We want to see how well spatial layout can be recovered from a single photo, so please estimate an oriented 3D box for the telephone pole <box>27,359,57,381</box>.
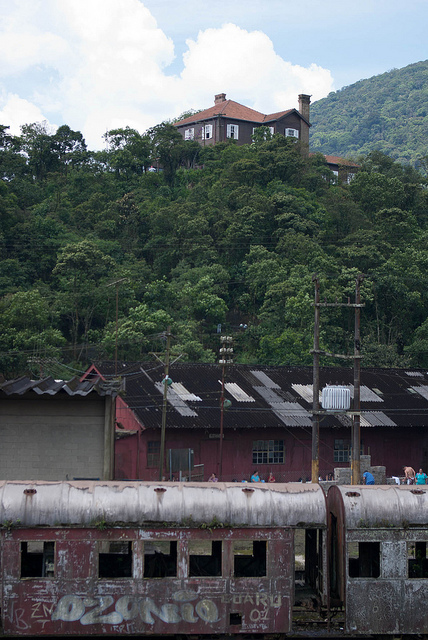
[{"bbox_3d":[-7.551,2.096,59.080,0.781,0.990,0.853,-1,-6,3],"label":"telephone pole"}]
